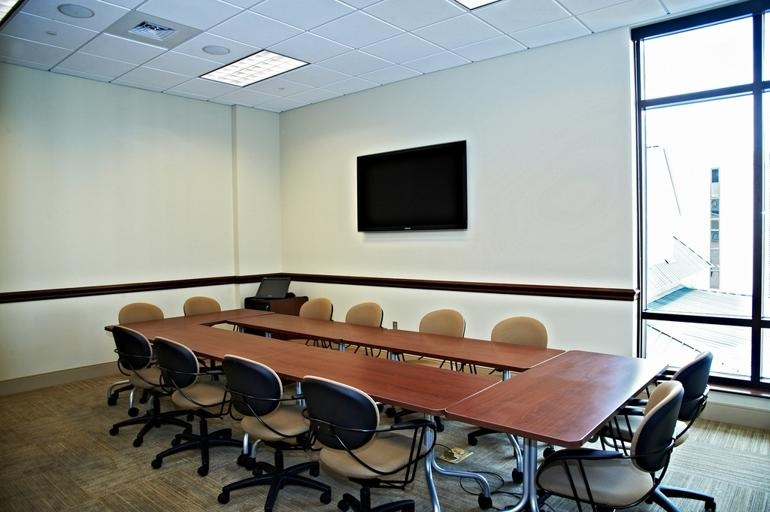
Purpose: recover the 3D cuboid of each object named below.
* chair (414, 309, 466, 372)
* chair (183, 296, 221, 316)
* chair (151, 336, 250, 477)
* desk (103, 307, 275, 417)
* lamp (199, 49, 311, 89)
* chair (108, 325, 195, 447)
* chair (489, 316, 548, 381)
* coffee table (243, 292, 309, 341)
[{"bbox_3d":[0.588,1.001,5.489,0.611,0.693,0.587,4,4,40],"label":"chair"},{"bbox_3d":[-2.582,0.710,6.729,0.342,0.337,0.341,-3,4,-34],"label":"chair"},{"bbox_3d":[-1.826,1.486,4.921,1.062,1.137,0.888,3,-7,5],"label":"chair"},{"bbox_3d":[-2.771,1.380,6.382,1.347,0.978,2.245,3,4,36],"label":"desk"},{"bbox_3d":[-1.875,-2.639,6.825,1.573,0.180,0.662,3,8,35],"label":"lamp"},{"bbox_3d":[-2.556,1.354,5.377,0.899,1.137,0.912,-9,-10,39],"label":"chair"},{"bbox_3d":[1.345,0.984,5.017,0.684,0.653,0.594,-8,-1,36],"label":"chair"},{"bbox_3d":[-1.977,0.935,8.162,0.653,0.556,0.623,10,13,23],"label":"coffee table"}]
